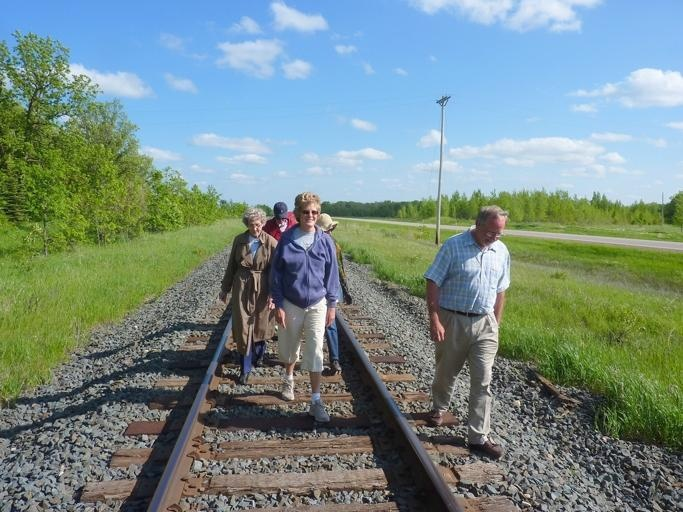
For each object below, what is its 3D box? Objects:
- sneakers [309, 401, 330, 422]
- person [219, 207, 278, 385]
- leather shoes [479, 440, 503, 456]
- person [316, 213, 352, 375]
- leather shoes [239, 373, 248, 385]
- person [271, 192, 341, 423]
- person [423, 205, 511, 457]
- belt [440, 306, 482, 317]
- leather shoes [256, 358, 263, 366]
[{"bbox_3d":[-0.276,1.892,5.262,0.120,0.176,0.346,4,-7,-23],"label":"sneakers"},{"bbox_3d":[-1.293,0.503,6.271,0.717,2.388,0.675,-8,15,-36],"label":"person"},{"bbox_3d":[1.655,2.146,4.818,0.112,0.113,0.260,-3,-5,-21],"label":"leather shoes"},{"bbox_3d":[-0.135,0.521,6.997,0.729,2.446,0.700,0,-1,-19],"label":"person"},{"bbox_3d":[-1.375,1.719,6.062,0.087,0.146,0.133,3,-1,11],"label":"leather shoes"},{"bbox_3d":[-0.468,0.584,5.373,0.808,2.700,0.673,2,12,7],"label":"person"},{"bbox_3d":[1.404,0.787,4.948,0.879,2.694,0.796,4,12,12],"label":"person"},{"bbox_3d":[1.368,0.637,4.940,0.446,0.059,0.069,5,13,16],"label":"belt"},{"bbox_3d":[-1.277,1.640,6.703,0.078,0.121,0.059,1,5,13],"label":"leather shoes"}]
